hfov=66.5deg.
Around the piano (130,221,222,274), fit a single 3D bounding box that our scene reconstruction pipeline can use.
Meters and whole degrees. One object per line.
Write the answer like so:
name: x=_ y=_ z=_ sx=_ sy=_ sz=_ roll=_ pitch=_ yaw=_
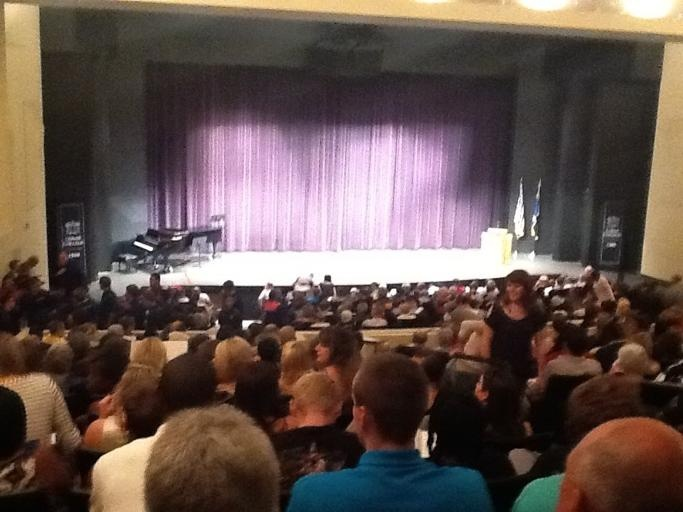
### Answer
piano: x=-2.402 y=-0.170 z=7.731 sx=1.087 sy=0.545 sz=0.645 roll=-8 pitch=10 yaw=-35
